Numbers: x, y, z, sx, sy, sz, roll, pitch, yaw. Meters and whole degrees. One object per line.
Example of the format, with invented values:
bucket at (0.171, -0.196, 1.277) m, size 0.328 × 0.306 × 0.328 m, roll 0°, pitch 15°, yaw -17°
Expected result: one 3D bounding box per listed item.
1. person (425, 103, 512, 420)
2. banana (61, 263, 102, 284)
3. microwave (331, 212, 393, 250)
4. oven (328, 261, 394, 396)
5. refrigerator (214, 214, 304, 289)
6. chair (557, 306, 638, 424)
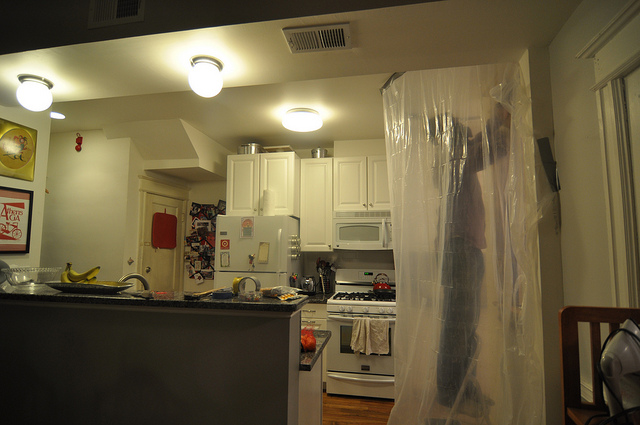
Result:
person at (0.997, 0.307, 3.149) m, size 0.558 × 2.096 × 0.140 m, roll 1°, pitch -7°, yaw 16°
banana at (-1.769, 0.450, 3.399) m, size 0.234 × 0.143 × 0.282 m, roll 7°, pitch -7°, yaw -28°
microwave at (0.480, 0.215, 5.153) m, size 0.622 × 0.405 × 0.422 m, roll -1°, pitch -9°, yaw 13°
oven at (0.496, 1.254, 5.063) m, size 0.940 × 1.345 × 0.978 m, roll -1°, pitch -8°, yaw 22°
refrigerator at (-0.574, 0.508, 5.361) m, size 0.798 × 1.211 × 0.814 m, roll 2°, pitch -9°, yaw 1°
chair at (1.604, 0.865, 2.653) m, size 0.349 × 0.662 × 0.626 m, roll -1°, pitch -8°, yaw 34°
